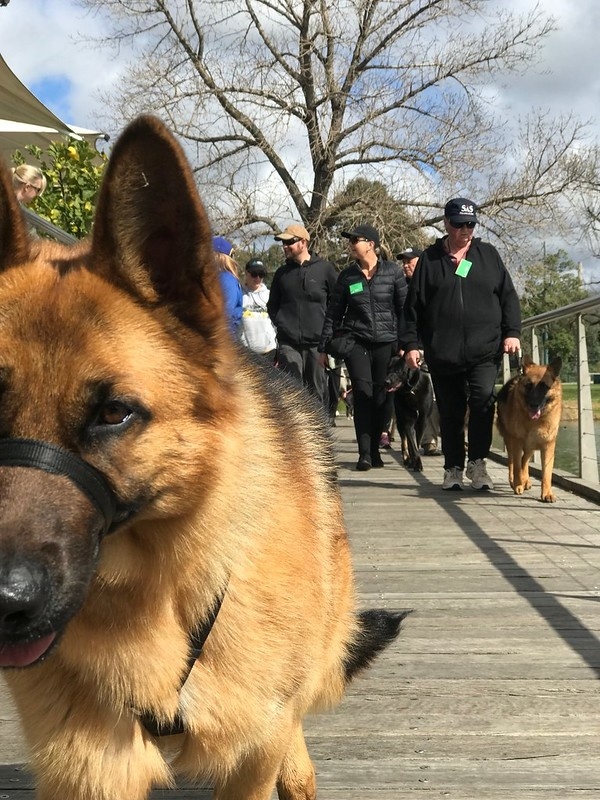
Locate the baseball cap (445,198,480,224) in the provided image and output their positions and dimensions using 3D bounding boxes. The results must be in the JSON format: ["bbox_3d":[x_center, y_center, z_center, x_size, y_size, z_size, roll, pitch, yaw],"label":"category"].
[{"bbox_3d":[1.161,-1.350,5.933,0.218,0.205,0.272,-2,3,4],"label":"baseball cap"}]

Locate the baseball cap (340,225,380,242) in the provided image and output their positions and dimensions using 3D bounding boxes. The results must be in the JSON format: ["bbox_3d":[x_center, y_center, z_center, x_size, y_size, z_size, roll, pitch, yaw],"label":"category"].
[{"bbox_3d":[0.545,-1.497,7.463,0.331,0.148,0.195,8,3,-15],"label":"baseball cap"}]
